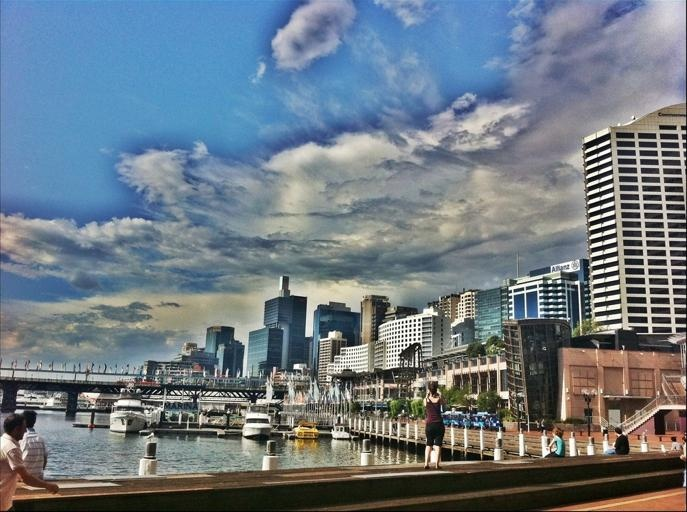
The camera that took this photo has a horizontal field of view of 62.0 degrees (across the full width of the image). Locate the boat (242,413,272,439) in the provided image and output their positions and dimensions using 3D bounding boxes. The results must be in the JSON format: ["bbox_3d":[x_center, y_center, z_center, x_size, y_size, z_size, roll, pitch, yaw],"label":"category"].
[{"bbox_3d":[-14.856,29.656,99.465,2.952,4.605,5.476,11,-21,-35],"label":"boat"}]

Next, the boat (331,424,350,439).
[{"bbox_3d":[-0.574,30.906,99.715,2.136,1.441,3.645,3,-3,-12],"label":"boat"}]

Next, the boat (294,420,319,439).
[{"bbox_3d":[-6.702,31.467,102.974,3.452,1.690,5.153,2,-10,-7],"label":"boat"}]
